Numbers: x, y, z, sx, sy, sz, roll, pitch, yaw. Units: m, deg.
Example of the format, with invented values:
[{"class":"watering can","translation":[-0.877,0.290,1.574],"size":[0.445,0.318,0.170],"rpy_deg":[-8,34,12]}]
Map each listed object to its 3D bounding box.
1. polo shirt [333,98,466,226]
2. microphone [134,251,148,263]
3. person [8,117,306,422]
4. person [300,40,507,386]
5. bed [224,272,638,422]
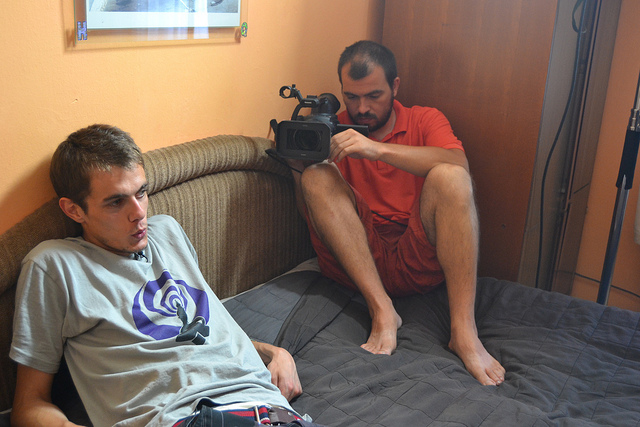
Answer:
[{"class":"polo shirt","translation":[0.313,-0.238,2.446],"size":[0.480,0.576,0.598],"rpy_deg":[1,18,-14]},{"class":"microphone","translation":[-0.614,0.148,1.654],"size":[0.018,0.027,0.011],"rpy_deg":[-24,-3,-34]},{"class":"person","translation":[-0.617,0.200,1.641],"size":[1.090,0.735,0.700],"rpy_deg":[23,26,27]},{"class":"person","translation":[0.330,-0.047,2.139],"size":[0.672,1.405,1.275],"rpy_deg":[-6,9,-13]},{"class":"bed","translation":[0.394,0.515,1.825],"size":[0.523,0.146,1.353],"rpy_deg":[7,14,-3]}]
